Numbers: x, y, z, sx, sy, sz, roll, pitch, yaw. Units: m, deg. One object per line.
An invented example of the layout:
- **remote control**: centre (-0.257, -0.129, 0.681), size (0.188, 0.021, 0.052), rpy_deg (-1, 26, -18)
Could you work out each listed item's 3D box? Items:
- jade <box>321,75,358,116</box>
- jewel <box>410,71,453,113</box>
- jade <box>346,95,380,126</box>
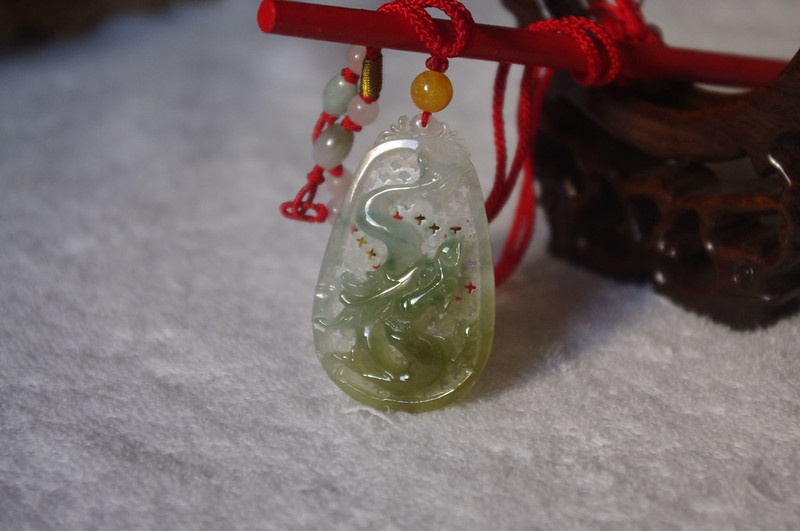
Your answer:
- **jade**: centre (-0.099, -0.263, 1.479), size (0.054, 0.055, 0.067), rpy_deg (10, 94, 7)
- **jewel**: centre (0.051, -0.251, 1.403), size (0.059, 0.033, 0.061), rpy_deg (21, 98, -3)
- **jade**: centre (-0.062, -0.237, 1.490), size (0.042, 0.042, 0.050), rpy_deg (10, 82, -8)
